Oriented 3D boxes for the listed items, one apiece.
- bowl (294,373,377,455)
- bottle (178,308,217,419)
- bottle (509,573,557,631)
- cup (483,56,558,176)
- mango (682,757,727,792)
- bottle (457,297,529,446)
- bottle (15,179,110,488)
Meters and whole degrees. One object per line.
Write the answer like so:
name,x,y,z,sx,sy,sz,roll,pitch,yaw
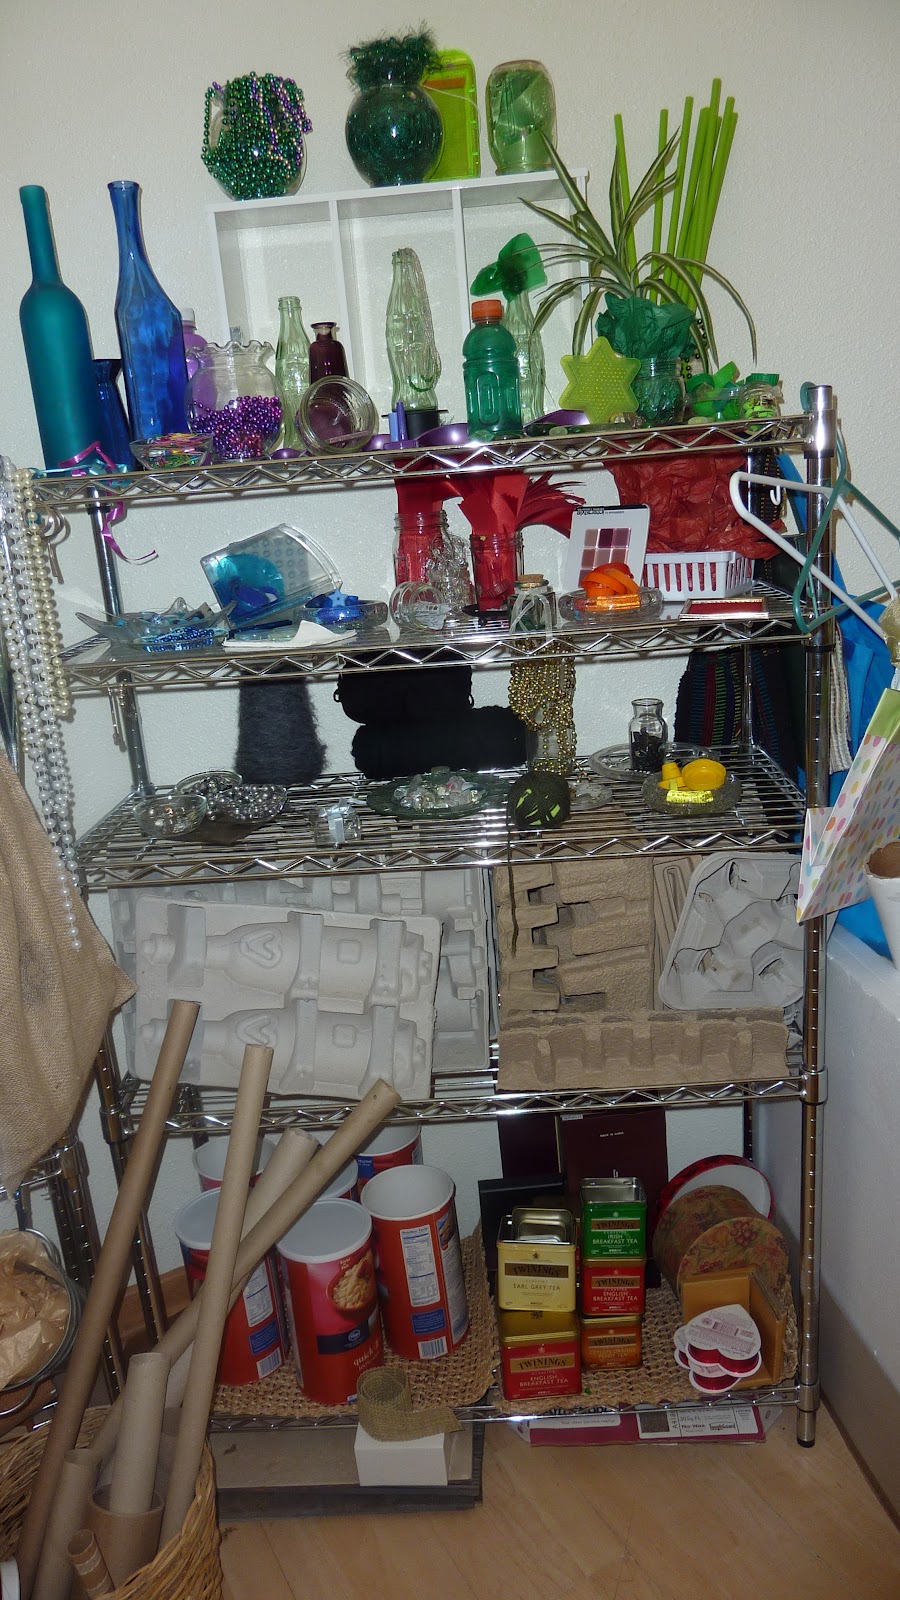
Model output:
bowl,-0.132,-0.445,1.363,0.079,0.095,0.068,2,22,-5
bottle,-0.310,-0.541,1.435,0.033,0.140,0.135,-6,11,-11
bottle,0.100,-0.232,1.389,0.050,0.078,0.065,0,12,2
cup,0.091,-0.877,1.497,0.079,0.130,0.057,-5,11,-3
mango,0.333,-0.030,1.534,0.053,0.043,0.031,-2,11,10
bottle,0.049,-0.503,1.378,0.064,0.165,0.145,-4,11,4
bottle,-0.469,-0.549,1.384,0.078,0.320,0.127,-7,11,-16
